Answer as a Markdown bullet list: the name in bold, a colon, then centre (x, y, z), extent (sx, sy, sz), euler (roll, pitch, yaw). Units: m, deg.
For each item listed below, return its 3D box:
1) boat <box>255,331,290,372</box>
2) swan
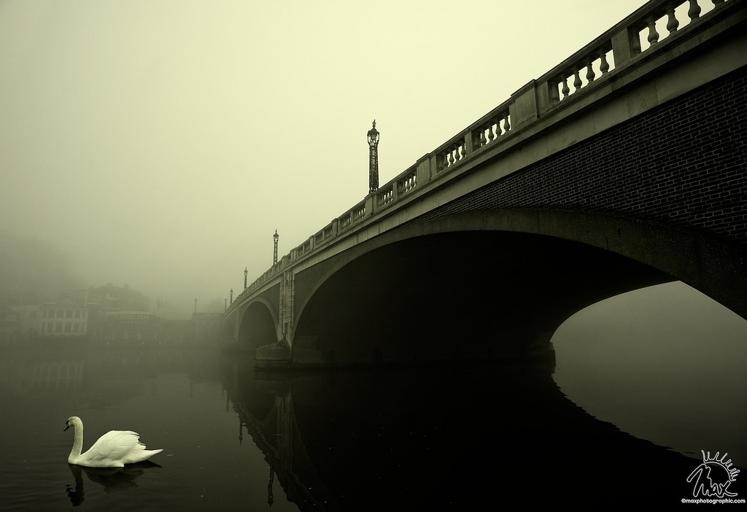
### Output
- **boat**: centre (-5.188, 5.187, 33.681), extent (1.389, 1.381, 1.521), euler (-4, -18, 8)
- **swan**: centre (-6.585, 4.640, 16.142), extent (2.097, 1.372, 0.825), euler (0, -12, -17)
